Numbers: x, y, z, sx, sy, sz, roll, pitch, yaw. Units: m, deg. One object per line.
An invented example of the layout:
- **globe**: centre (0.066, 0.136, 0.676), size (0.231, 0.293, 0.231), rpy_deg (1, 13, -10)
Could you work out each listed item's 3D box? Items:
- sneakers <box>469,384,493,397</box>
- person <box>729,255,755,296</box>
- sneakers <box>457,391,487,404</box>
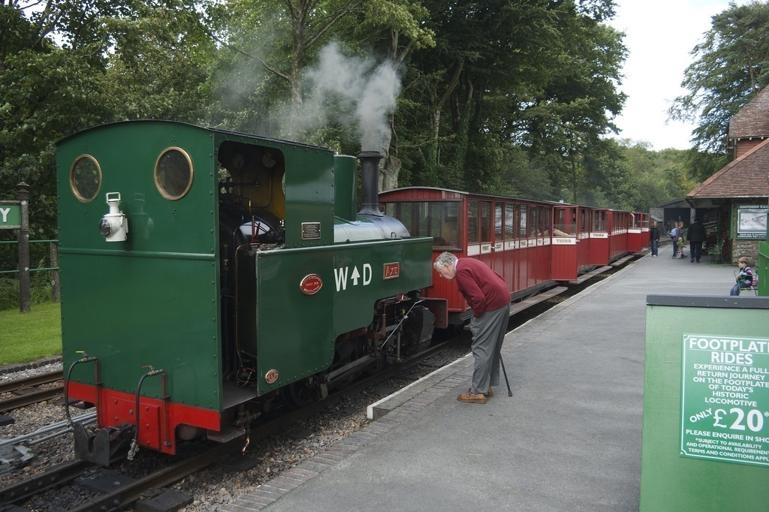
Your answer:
- **sneakers**: centre (1.504, 2.041, 9.466), size (0.141, 0.199, 0.440), rpy_deg (-6, -11, 41)
- **person**: centre (8.159, 0.544, 14.308), size (0.513, 1.001, 0.520), rpy_deg (1, -4, 12)
- **sneakers**: centre (1.312, 2.095, 9.378), size (0.392, 0.184, 0.169), rpy_deg (3, -2, 18)
